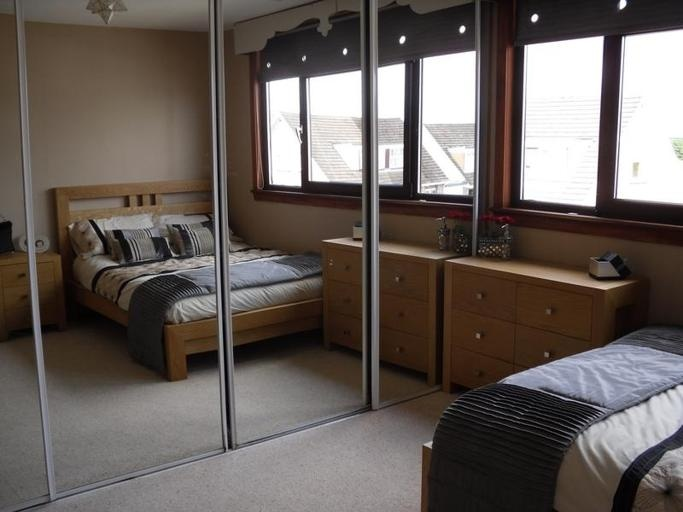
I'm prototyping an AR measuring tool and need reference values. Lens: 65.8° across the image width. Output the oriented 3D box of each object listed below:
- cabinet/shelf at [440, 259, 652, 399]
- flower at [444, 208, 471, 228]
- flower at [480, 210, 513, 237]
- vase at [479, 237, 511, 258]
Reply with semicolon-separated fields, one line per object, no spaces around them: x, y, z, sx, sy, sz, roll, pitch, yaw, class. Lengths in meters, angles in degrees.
1.226;0.537;3.365;0.568;0.924;1.062;-8;12;-40;cabinet/shelf
0.820;-0.267;3.702;0.147;0.111;0.130;-5;10;-36;flower
1.090;-0.231;3.691;0.186;0.137;0.171;-11;17;-42;flower
1.038;-0.096;3.567;0.186;0.127;0.122;5;13;30;vase
